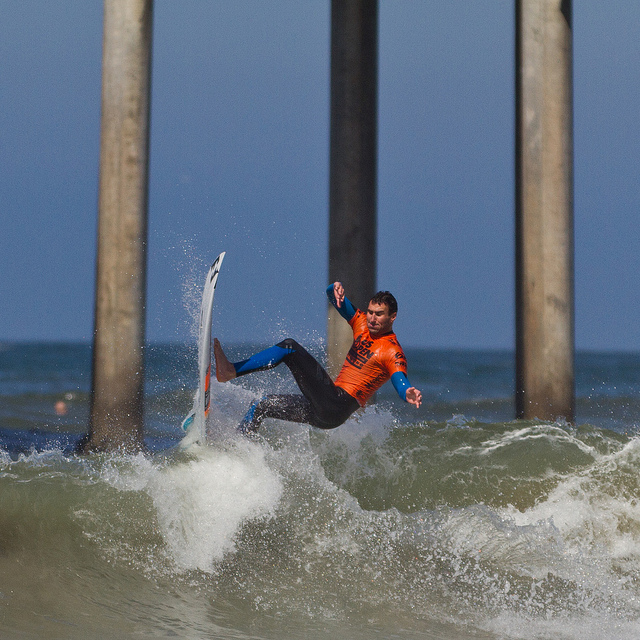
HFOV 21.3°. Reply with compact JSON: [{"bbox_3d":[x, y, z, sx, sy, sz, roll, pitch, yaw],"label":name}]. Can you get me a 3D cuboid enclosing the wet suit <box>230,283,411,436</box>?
[{"bbox_3d":[0.047,0.365,14.200,1.433,1.297,0.991,2,2,4],"label":"wet suit"}]
